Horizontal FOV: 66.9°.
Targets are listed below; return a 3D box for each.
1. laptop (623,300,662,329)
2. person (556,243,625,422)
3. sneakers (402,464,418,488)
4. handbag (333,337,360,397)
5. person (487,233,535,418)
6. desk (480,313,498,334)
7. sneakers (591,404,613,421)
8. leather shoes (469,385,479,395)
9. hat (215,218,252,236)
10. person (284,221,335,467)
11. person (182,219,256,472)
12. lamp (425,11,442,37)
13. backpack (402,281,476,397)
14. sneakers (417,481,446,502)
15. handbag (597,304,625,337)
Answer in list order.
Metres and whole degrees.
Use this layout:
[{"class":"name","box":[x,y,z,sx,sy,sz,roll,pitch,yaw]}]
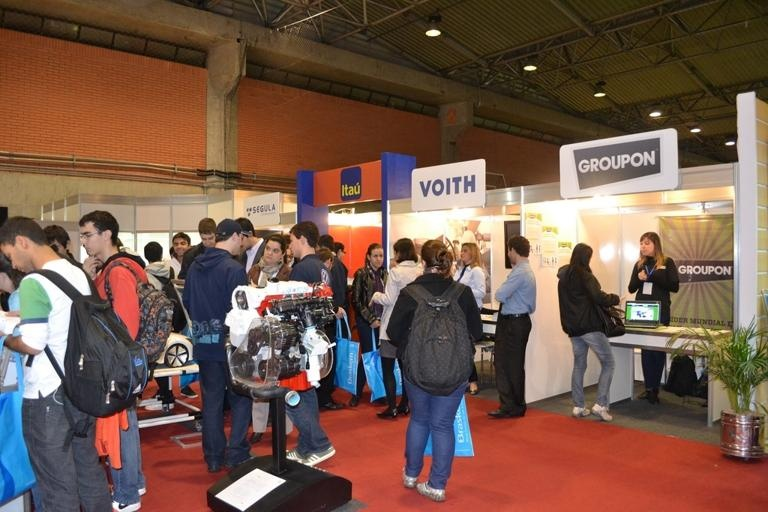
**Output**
[{"class":"laptop","box":[2.972,0.672,6.695,0.384,0.275,0.276,0,-4,38]},{"class":"person","box":[2.241,0.848,6.474,0.642,1.931,0.410,3,9,17]},{"class":"sneakers","box":[0.204,1.917,5.001,0.104,0.181,0.179,2,-30,-1]},{"class":"handbag","box":[-0.435,1.251,6.598,0.178,0.708,0.882,1,-11,-26]},{"class":"person","box":[1.441,0.797,6.472,0.432,2.000,0.438,2,9,13]},{"class":"desk","box":[1.341,0.866,7.421,0.324,0.210,0.467,1,-2,14]},{"class":"sneakers","box":[2.415,1.725,6.421,0.239,0.169,0.200,2,9,11]},{"class":"leather shoes","box":[1.149,1.720,7.469,0.074,0.157,0.059,5,4,13]},{"class":"hat","box":[-1.365,-0.263,5.326,0.211,0.148,0.341,4,11,32]},{"class":"person","box":[-0.698,0.829,5.384,0.430,2.195,1.221,-1,9,-7]},{"class":"person","box":[-1.482,0.815,5.196,0.657,2.233,0.414,3,9,17]},{"class":"lamp","box":[1.074,-5.186,12.974,0.290,0.585,0.766,1,9,7]},{"class":"backpack","box":[0.438,0.678,4.786,0.580,0.859,0.405,1,9,6]},{"class":"sneakers","box":[0.377,1.970,4.922,0.103,0.123,0.282,1,5,-37]},{"class":"handbag","box":[2.489,0.727,6.403,0.332,0.429,0.202,-2,-13,-34]}]
